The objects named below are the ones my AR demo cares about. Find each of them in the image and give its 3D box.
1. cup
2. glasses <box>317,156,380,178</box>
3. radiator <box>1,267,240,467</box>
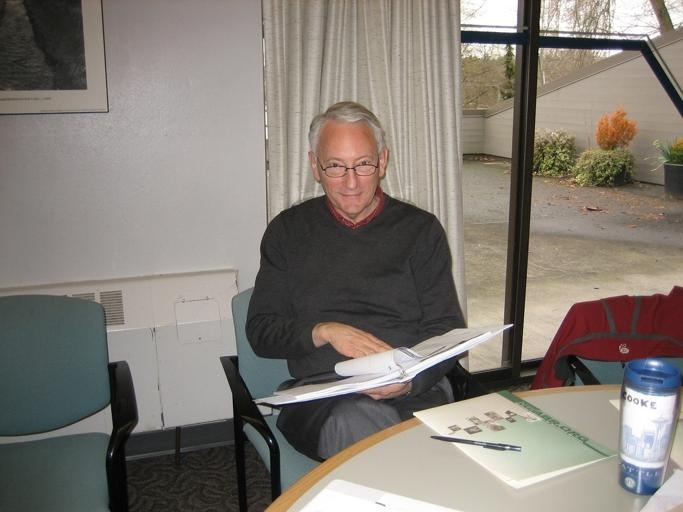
[{"bbox_3d":[0.711,0.379,1.194,0.115,0.296,0.145,1,12,26],"label":"cup"},{"bbox_3d":[0.032,-0.319,1.928,0.208,0.063,0.051,-3,10,-2],"label":"glasses"},{"bbox_3d":[-0.942,0.430,2.175,1.143,0.689,0.332,-2,3,-15],"label":"radiator"}]
